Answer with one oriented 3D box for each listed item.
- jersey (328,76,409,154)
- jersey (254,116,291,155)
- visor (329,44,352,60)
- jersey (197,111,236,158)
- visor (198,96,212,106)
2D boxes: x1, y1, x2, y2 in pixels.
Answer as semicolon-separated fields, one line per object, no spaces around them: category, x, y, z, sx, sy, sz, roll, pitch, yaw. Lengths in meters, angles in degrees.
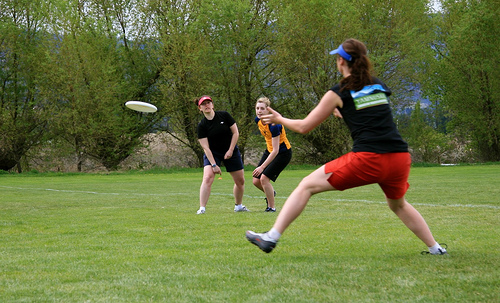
jersey;2.283;-0.732;8.688;1.426;1.457;0.952;-18;4;-2
jersey;0.665;-0.574;12.501;0.686;1.123;1.190;-24;35;-17
visor;1.708;-1.862;8.509;0.421;0.111;0.260;28;34;15
jersey;-0.811;-0.577;12.433;1.126;1.087;0.642;-14;-8;17
visor;-1.235;-1.362;12.038;0.333;0.237;0.225;-2;10;-7
